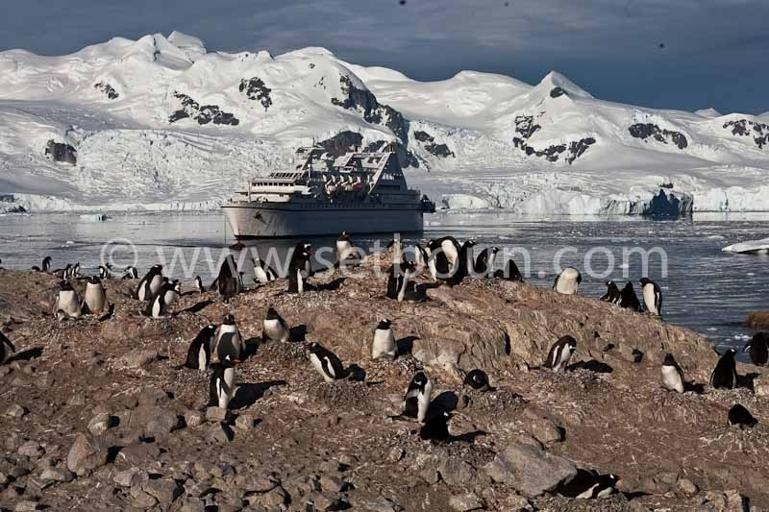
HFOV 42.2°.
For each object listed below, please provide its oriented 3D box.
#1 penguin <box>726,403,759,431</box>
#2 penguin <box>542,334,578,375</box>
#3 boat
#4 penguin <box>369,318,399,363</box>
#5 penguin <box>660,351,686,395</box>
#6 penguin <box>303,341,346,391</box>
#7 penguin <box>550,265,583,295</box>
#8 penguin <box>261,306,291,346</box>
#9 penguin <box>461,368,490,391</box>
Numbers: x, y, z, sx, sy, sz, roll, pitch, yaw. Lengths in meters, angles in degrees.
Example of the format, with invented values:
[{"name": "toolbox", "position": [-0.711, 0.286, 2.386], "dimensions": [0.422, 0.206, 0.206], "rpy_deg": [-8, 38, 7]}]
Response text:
[{"name": "penguin", "position": [8.923, 3.978, 24.884], "dimensions": [0.712, 0.475, 0.644], "rpy_deg": [2, 24, 17]}, {"name": "penguin", "position": [4.609, 2.606, 26.743], "dimensions": [1.141, 0.882, 0.699], "rpy_deg": [-6, 0, 34]}, {"name": "boat", "position": [-5.542, -5.263, 87.085], "dimensions": [7.390, 7.739, 21.479], "rpy_deg": [-2, -3, 39]}, {"name": "penguin", "position": [0.009, 2.141, 25.887], "dimensions": [0.747, 1.138, 0.516], "rpy_deg": [-10, 23, -9]}, {"name": "penguin", "position": [7.526, 3.084, 25.920], "dimensions": [0.564, 0.985, 0.886], "rpy_deg": [-7, 23, -2]}, {"name": "penguin", "position": [-1.407, 2.697, 25.130], "dimensions": [0.812, 0.974, 0.620], "rpy_deg": [-5, 23, 3]}, {"name": "penguin", "position": [5.622, 0.876, 31.009], "dimensions": [0.742, 0.774, 1.040], "rpy_deg": [2, 46, 43]}, {"name": "penguin", "position": [-2.864, 1.781, 26.168], "dimensions": [0.739, 1.033, 0.706], "rpy_deg": [-7, 23, -2]}, {"name": "penguin", "position": [2.345, 3.130, 25.475], "dimensions": [0.834, 0.399, 0.537], "rpy_deg": [11, 28, 34]}]
